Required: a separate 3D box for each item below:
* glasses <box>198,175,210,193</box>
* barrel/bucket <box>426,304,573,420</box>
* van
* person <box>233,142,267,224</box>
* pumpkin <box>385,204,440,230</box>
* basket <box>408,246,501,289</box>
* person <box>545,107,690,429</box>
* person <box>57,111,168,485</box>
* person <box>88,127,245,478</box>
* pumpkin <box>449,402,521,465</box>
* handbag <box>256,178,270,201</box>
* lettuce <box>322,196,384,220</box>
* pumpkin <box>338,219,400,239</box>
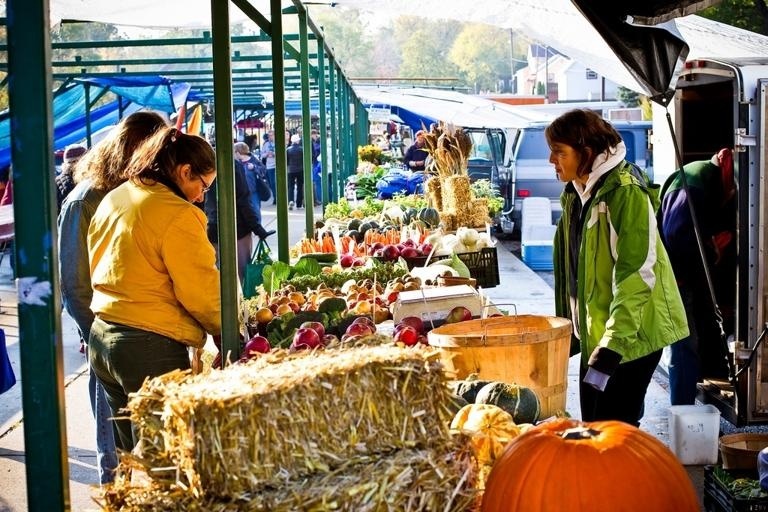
[{"bbox_3d":[-1.230,-0.495,5.866,0.027,0.114,0.100,-4,2,5],"label":"glasses"},{"bbox_3d":[0.762,0.603,5.810,0.739,0.774,0.796,-1,3,0],"label":"barrel/bucket"},{"bbox_3d":[3.407,-1.898,18.966,3.511,3.024,3.137,1,6,12],"label":"van"},{"bbox_3d":[-2.169,-0.991,13.712,0.489,1.628,0.467,-4,16,2],"label":"person"},{"bbox_3d":[0.356,-0.510,10.773,0.509,0.241,0.338,3,13,13],"label":"pumpkin"},{"bbox_3d":[0.728,0.123,9.336,1.067,0.505,1.165,0,-1,15],"label":"basket"},{"bbox_3d":[1.615,0.032,6.135,0.863,2.497,0.853,1,3,13],"label":"person"},{"bbox_3d":[-1.985,0.459,6.721,0.760,2.955,0.874,-4,3,10],"label":"person"},{"bbox_3d":[-1.523,0.193,5.961,0.849,2.282,0.845,-2,3,-38],"label":"person"},{"bbox_3d":[0.603,0.995,4.997,0.325,0.246,0.372,-2,15,-3],"label":"pumpkin"},{"bbox_3d":[-1.872,-1.032,13.350,0.178,0.380,0.123,-6,-5,-5],"label":"handbag"},{"bbox_3d":[-0.508,-0.707,13.147,0.544,0.313,0.587,-8,5,-6],"label":"lettuce"},{"bbox_3d":[-0.228,-0.338,10.258,0.413,0.166,0.324,4,7,45],"label":"pumpkin"}]
